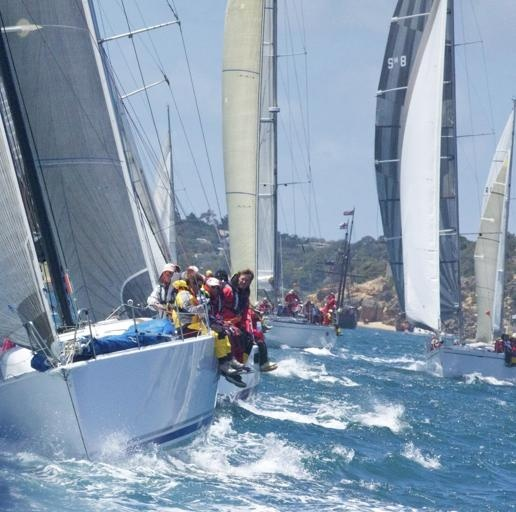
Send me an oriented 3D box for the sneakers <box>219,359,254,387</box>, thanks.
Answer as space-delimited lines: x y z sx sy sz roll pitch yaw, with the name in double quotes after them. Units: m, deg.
-0.211 1.130 6.202 0.278 0.121 0.228 14 13 8 "sneakers"
